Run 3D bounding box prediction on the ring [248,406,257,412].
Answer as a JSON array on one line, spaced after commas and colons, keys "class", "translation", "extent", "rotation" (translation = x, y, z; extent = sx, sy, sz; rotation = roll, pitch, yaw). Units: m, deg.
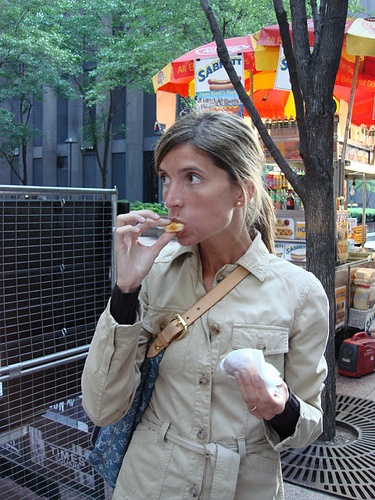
[{"class": "ring", "translation": [0.169, 0.411, 1.158], "extent": [0.015, 0.006, 0.017], "rotation": [-6, -15, -19]}]
